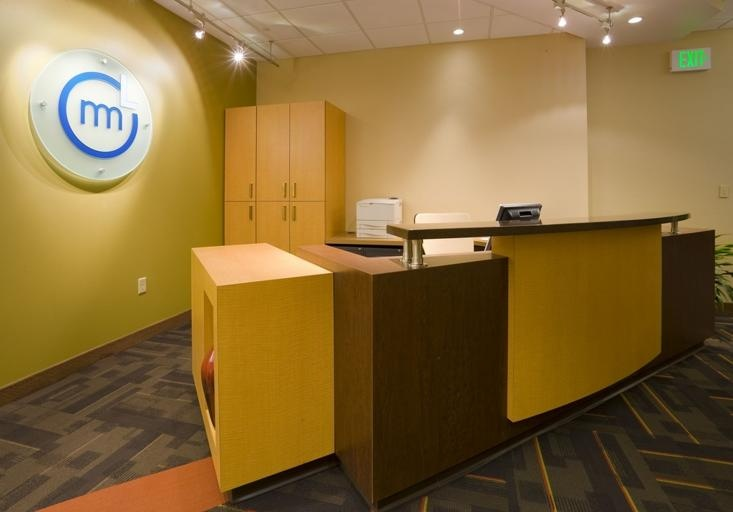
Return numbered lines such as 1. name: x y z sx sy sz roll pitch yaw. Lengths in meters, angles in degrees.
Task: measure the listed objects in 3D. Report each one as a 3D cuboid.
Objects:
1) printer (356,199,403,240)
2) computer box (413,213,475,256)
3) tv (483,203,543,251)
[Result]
1. printer: 0.143 -0.419 5.940 0.561 0.589 0.455 -1 -2 13
2. computer box: 0.718 -0.196 4.684 0.553 0.370 1.582 1 8 13
3. tv: 1.080 -0.205 3.625 0.381 0.333 0.656 2 8 16
